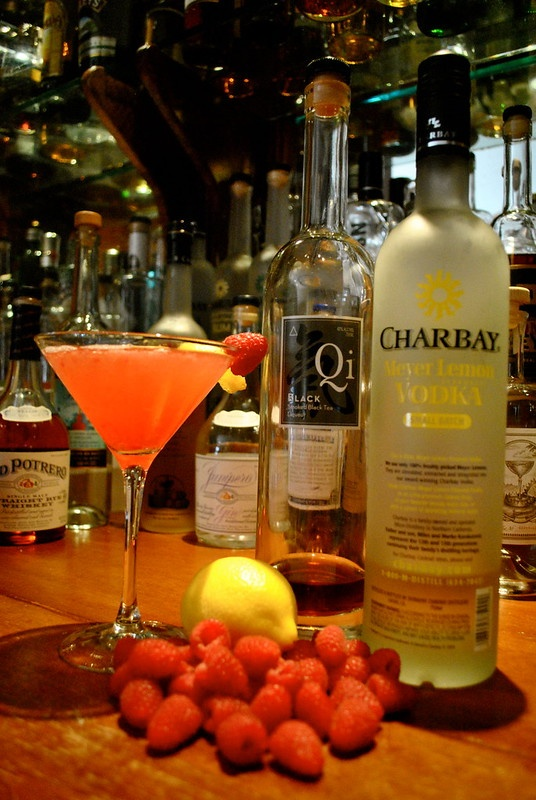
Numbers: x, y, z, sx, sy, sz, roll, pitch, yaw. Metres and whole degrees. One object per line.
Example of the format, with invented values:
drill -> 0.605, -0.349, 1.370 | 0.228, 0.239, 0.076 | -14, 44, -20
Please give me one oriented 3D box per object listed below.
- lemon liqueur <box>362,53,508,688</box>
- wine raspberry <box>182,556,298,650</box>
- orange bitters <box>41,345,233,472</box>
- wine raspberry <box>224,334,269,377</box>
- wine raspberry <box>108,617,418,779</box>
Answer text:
lemon liqueur -> 0.135, -0.022, 0.564 | 0.114, 0.468, 0.114 | 1, 4, 1
wine raspberry -> -0.021, 0.165, 0.594 | 0.080, 0.076, 0.099 | -28, -2, 8
orange bitters -> -0.121, -0.005, 0.625 | 0.134, 0.099, 0.140 | 1, -1, 2
wine raspberry -> -0.030, -0.045, 0.733 | 0.042, 0.039, 0.043 | 0, 2, -36
wine raspberry -> -0.001, 0.194, 0.488 | 0.190, 0.061, 0.168 | 1, -1, -28
